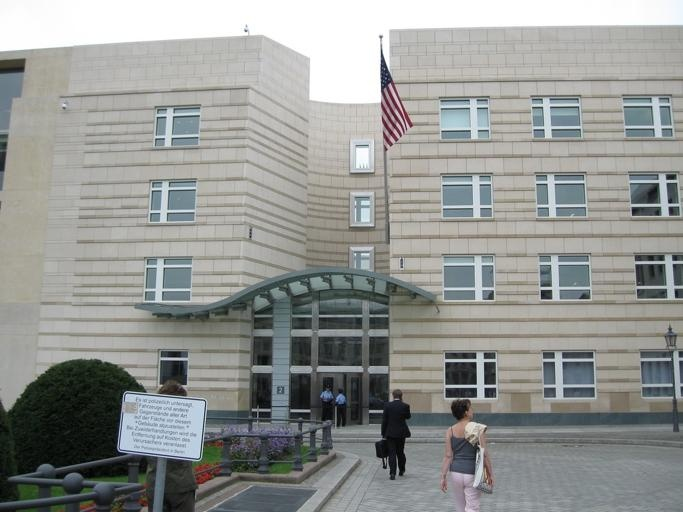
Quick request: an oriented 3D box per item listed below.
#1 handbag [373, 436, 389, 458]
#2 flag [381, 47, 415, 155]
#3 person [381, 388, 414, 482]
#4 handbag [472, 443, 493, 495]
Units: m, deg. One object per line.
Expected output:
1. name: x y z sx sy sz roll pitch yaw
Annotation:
1. handbag: 1.114 5.239 20.335 0.364 0.513 0.527 0 -12 0
2. flag: 2.374 -7.161 33.777 1.085 4.305 1.186 -1 -13 2
3. person: 1.494 4.891 20.531 0.768 2.389 1.209 -1 -13 3
4. handbag: 2.743 4.151 14.519 0.344 0.922 0.609 -3 -13 13
